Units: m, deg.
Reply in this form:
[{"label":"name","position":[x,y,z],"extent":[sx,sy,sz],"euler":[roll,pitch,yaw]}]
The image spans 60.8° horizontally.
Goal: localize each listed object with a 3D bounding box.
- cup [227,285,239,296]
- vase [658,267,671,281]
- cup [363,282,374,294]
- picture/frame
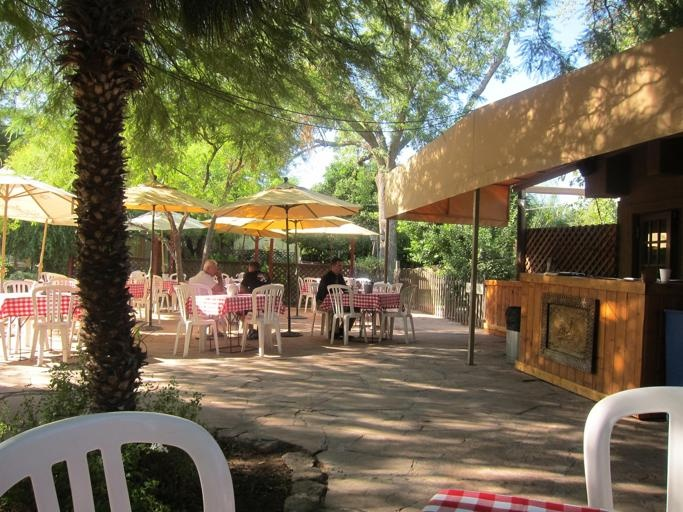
[{"label":"cup","position":[-1.746,0.556,9.296],"extent":[0.145,0.160,0.155],"euler":[0,-6,0]},{"label":"vase","position":[3.600,0.211,6.484],"extent":[0.137,0.154,0.177],"euler":[1,-6,-8]},{"label":"cup","position":[0.514,0.590,10.486],"extent":[0.155,0.184,0.165],"euler":[0,-8,0]},{"label":"picture/frame","position":[2.647,0.877,6.874],"extent":[0.810,0.807,0.077],"euler":[12,-10,-22]}]
